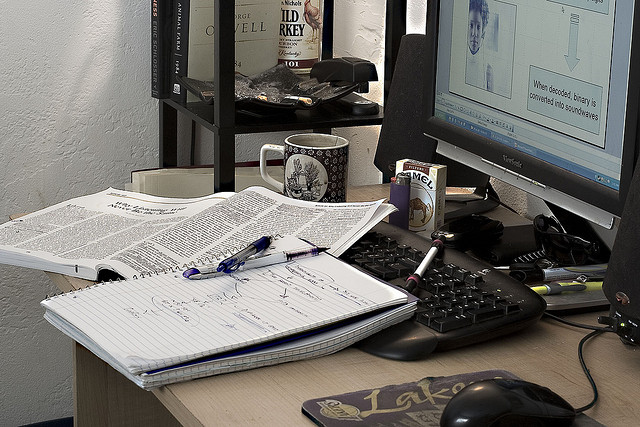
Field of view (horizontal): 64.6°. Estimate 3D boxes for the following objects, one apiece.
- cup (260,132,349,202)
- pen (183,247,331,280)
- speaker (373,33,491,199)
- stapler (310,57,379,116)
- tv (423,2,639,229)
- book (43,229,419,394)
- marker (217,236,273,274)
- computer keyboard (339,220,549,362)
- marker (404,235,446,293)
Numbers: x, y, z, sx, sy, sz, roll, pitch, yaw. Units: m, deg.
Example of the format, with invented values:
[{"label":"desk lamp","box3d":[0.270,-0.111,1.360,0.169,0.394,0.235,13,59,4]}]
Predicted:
[{"label":"cup","box3d":[-0.035,-0.078,1.003,0.177,0.124,0.100,5,17,18]},{"label":"pen","box3d":[-0.083,0.068,0.724,0.245,0.020,0.021,-9,2,-38]},{"label":"speaker","box3d":[0.192,-0.193,1.053,0.189,0.332,0.221,-11,27,-27]},{"label":"stapler","box3d":[0.064,-0.304,1.201,0.108,0.121,0.199,-12,24,-30]},{"label":"tv","box3d":[0.315,-0.157,0.762,0.046,0.261,0.409,-15,26,-28]},{"label":"book","box3d":[-0.135,0.104,0.677,0.405,0.090,0.322,-9,22,-27]},{"label":"marker","box3d":[-0.107,0.057,0.717,0.025,0.019,0.108,14,28,29]},{"label":"computer keyboard","box3d":[0.150,0.095,0.751,0.226,0.036,0.329,-11,19,-17]},{"label":"marker","box3d":[0.165,0.063,0.729,0.025,0.020,0.217,11,22,23]}]
